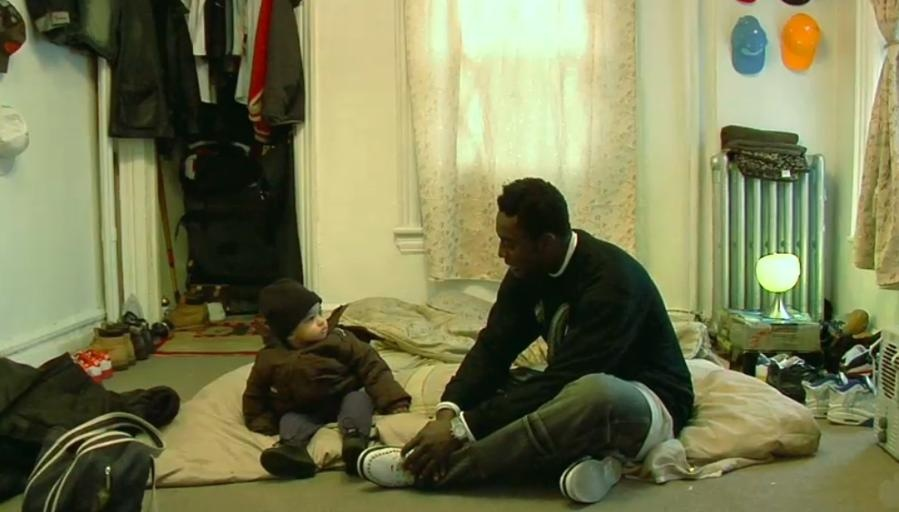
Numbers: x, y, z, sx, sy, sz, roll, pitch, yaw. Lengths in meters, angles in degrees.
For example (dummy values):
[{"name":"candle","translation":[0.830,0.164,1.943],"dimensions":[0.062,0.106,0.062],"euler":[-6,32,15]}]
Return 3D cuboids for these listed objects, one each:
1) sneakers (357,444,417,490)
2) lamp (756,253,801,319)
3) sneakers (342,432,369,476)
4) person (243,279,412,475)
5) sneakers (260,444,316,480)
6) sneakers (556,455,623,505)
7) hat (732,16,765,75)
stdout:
[{"name":"sneakers","translation":[-0.332,1.059,3.805],"dimensions":[0.383,0.131,0.151],"euler":[10,-7,4]},{"name":"lamp","translation":[2.207,0.197,4.969],"dimensions":[0.294,0.403,0.288],"euler":[7,-5,-17]},{"name":"sneakers","translation":[-0.493,0.993,3.886],"dimensions":[0.097,0.256,0.114],"euler":[3,-7,-4]},{"name":"person","translation":[-0.783,0.612,4.079],"dimensions":[0.908,0.910,0.830],"euler":[-2,8,41]},{"name":"sneakers","translation":[-0.830,1.054,3.949],"dimensions":[0.299,0.136,0.267],"euler":[14,12,-7]},{"name":"sneakers","translation":[0.718,1.090,3.769],"dimensions":[0.326,0.172,0.102],"euler":[-29,9,-18]},{"name":"hat","translation":[2.139,-1.479,5.283],"dimensions":[0.259,0.372,0.140],"euler":[-1,15,10]}]
